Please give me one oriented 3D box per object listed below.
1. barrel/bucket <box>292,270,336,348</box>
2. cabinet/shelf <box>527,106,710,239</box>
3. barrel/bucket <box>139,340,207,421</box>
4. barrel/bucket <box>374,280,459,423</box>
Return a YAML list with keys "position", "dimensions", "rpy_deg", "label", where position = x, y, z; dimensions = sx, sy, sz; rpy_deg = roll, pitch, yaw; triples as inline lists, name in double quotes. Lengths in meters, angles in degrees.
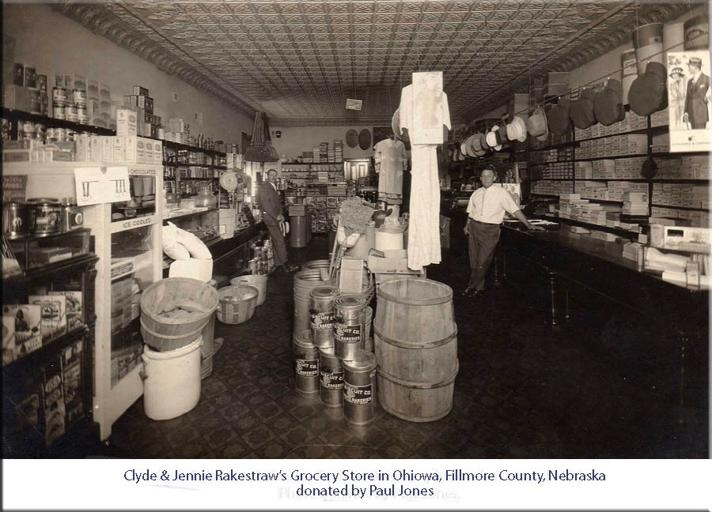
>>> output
- position: [-0.428, 0.524, 4.936]
  dimensions: [0.631, 0.673, 0.623]
  rpy_deg: [2, 8, 0]
  label: "barrel/bucket"
- position: [3.371, -1.048, 6.149]
  dimensions: [0.305, 1.189, 2.101]
  rpy_deg: [-4, 11, -21]
  label: "cabinet/shelf"
- position: [-1.692, 1.150, 4.435]
  dimensions: [0.414, 0.659, 0.687]
  rpy_deg: [7, 9, 34]
  label: "barrel/bucket"
- position: [0.493, 0.863, 4.835]
  dimensions: [1.090, 1.509, 1.139]
  rpy_deg: [0, 6, 0]
  label: "barrel/bucket"
